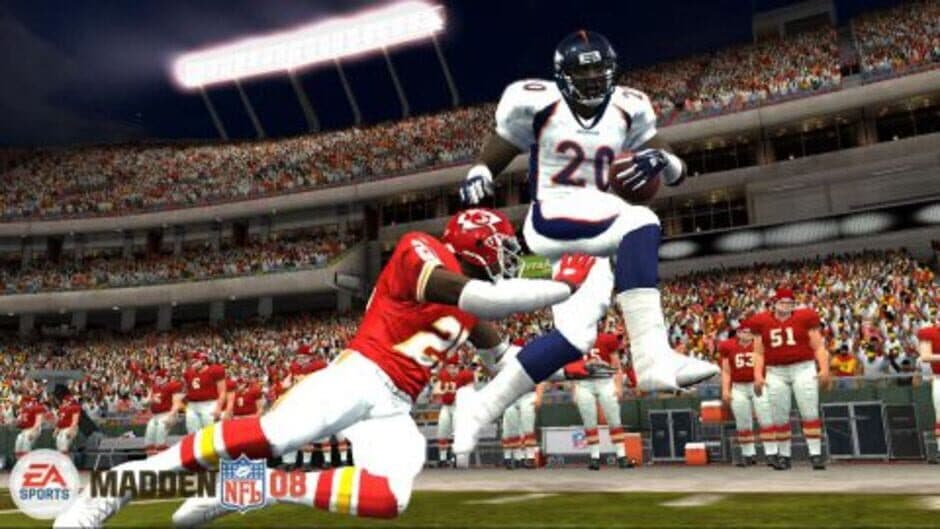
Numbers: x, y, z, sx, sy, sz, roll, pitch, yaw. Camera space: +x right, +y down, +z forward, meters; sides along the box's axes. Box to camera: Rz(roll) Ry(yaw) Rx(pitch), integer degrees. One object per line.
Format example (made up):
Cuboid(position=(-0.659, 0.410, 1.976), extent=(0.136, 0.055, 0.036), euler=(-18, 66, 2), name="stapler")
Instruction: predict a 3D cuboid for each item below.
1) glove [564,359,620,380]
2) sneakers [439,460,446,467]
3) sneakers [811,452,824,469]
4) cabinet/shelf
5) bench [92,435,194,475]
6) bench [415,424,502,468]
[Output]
Cuboid(position=(3.268, 2.968, 24.884), extent=(1.069, 0.427, 0.737), euler=(-4, 0, -2), name="glove")
Cuboid(position=(-0.951, 6.936, 31.013), extent=(0.208, 0.260, 0.265), euler=(16, -9, 9), name="sneakers")
Cuboid(position=(10.917, 6.210, 27.977), extent=(0.265, 0.251, 0.658), euler=(-2, -5, 18), name="sneakers")
Cuboid(position=(10.793, 5.460, 29.483), extent=(8.460, 2.243, 0.710), euler=(-5, -15, 10), name="cabinet/shelf")
Cuboid(position=(-10.150, 5.941, 27.741), extent=(4.172, 1.296, 1.022), euler=(-4, -46, 17), name="bench")
Cuboid(position=(-0.312, 6.319, 31.252), extent=(2.850, 1.565, 1.290), euler=(-2, -14, 0), name="bench")
